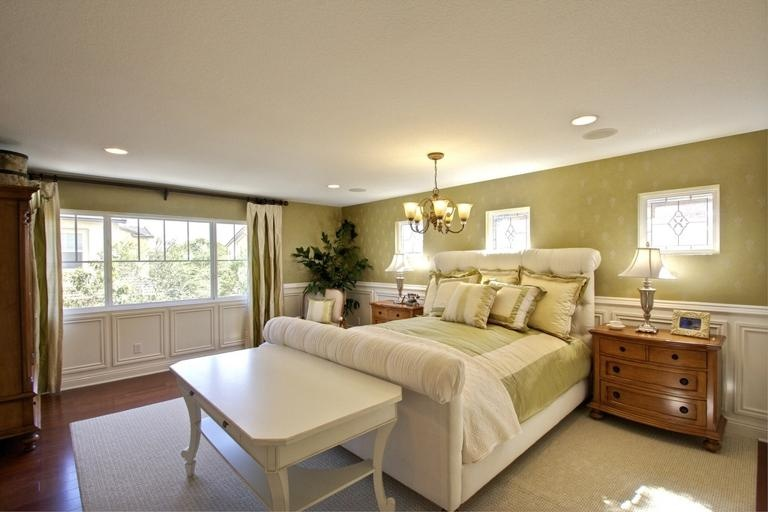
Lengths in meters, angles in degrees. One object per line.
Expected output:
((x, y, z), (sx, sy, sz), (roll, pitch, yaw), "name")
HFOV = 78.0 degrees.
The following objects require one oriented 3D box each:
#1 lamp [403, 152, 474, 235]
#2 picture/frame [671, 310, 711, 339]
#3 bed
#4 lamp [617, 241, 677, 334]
((0.680, -0.636, 5.714), (0.883, 0.986, 0.891), (0, -7, -8), "lamp")
((3.112, 0.693, 4.800), (0.035, 0.253, 0.250), (20, -17, -41), "picture/frame")
((0.829, 1.233, 4.971), (2.664, 1.708, 2.652), (2, -3, -42), "bed")
((2.801, 0.320, 5.038), (0.490, 0.932, 0.487), (1, 3, 34), "lamp")
